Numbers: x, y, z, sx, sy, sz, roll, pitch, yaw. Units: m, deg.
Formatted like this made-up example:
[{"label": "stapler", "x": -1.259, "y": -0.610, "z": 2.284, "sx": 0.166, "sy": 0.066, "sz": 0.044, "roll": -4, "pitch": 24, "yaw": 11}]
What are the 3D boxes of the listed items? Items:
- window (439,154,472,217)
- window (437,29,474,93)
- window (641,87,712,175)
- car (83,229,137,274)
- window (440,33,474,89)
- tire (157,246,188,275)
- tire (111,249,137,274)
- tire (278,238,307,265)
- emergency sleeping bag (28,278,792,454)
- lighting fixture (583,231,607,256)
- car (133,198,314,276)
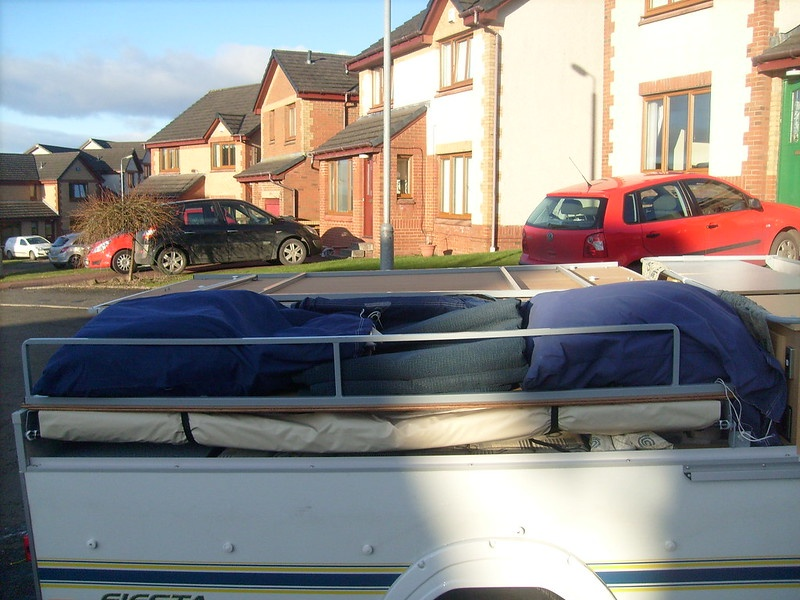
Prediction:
[{"label": "window", "x": 1.480, "y": -2.890, "z": 23.471, "sx": 0.245, "sy": 1.472, "sz": 1.757, "roll": -4, "pitch": 7, "yaw": -29}, {"label": "window", "x": 1.379, "y": -5.832, "z": 22.821, "sx": 0.138, "sy": 1.182, "sz": 1.652, "roll": -2, "pitch": 7, "yaw": -35}, {"label": "window", "x": 5.189, "y": -3.091, "z": 17.190, "sx": 2.148, "sy": 1.463, "sz": 0.055, "roll": -11, "pitch": 16, "yaw": -38}, {"label": "car", "x": -6.810, "y": -1.320, "z": 21.840, "sx": 1.074, "sy": 0.996, "sz": 2.054, "roll": -12, "pitch": 2, "yaw": -8}, {"label": "window", "x": 1.469, "y": -5.870, "z": 22.601, "sx": 0.200, "sy": 1.193, "sz": 1.721, "roll": -5, "pitch": 7, "yaw": -22}, {"label": "tire", "x": -4.997, "y": -0.907, "z": 20.404, "sx": 0.472, "sy": 0.458, "sz": 0.157, "roll": -31, "pitch": 39, "yaw": -10}, {"label": "tire", "x": -6.209, "y": -0.906, "z": 20.927, "sx": 0.603, "sy": 0.564, "sz": 0.182, "roll": 0, "pitch": 32, "yaw": -37}, {"label": "tire", "x": -2.507, "y": -1.162, "z": 21.659, "sx": 0.682, "sy": 0.630, "sz": 0.212, "roll": -3, "pitch": 5, "yaw": -31}, {"label": "emergency sleeping bag", "x": 0.121, "y": 0.379, "z": 5.613, "sx": 4.119, "sy": 0.909, "sz": 0.938, "roll": -1, "pitch": 7, "yaw": 2}, {"label": "lighting fixture", "x": 2.573, "y": -0.719, "z": 12.112, "sx": 0.291, "sy": 0.325, "sz": 0.072, "roll": 5, "pitch": 10, "yaw": 42}, {"label": "car", "x": -4.056, "y": -1.506, "z": 21.332, "sx": 3.556, "sy": 1.277, "sz": 1.721, "roll": -4, "pitch": 6, "yaw": -26}]
